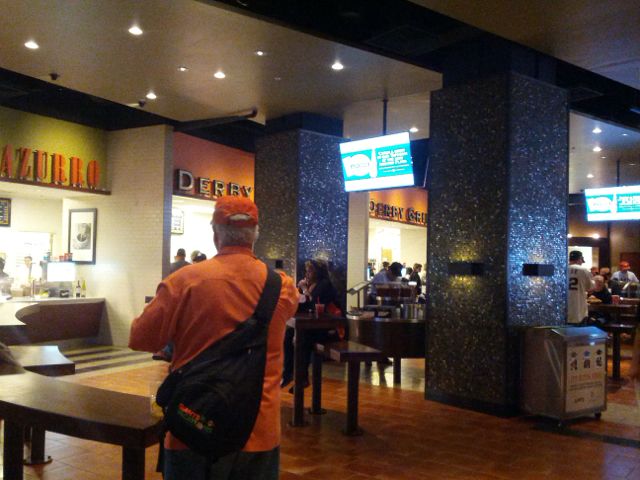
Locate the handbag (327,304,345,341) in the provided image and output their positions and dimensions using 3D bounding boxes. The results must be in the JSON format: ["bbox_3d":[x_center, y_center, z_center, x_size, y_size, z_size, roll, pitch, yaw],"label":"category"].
[{"bbox_3d":[0.213,0.971,6.275,0.102,0.393,0.237,-17,-27,18],"label":"handbag"}]

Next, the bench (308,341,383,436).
[{"bbox_3d":[0.161,1.380,4.828,0.483,0.840,1.744,0,-18,16],"label":"bench"}]

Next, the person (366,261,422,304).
[{"bbox_3d":[1.276,0.738,9.537,0.780,0.746,1.112,3,-13,-11],"label":"person"}]

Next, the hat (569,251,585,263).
[{"bbox_3d":[4.008,0.270,8.157,0.192,0.176,0.284,3,7,33],"label":"hat"}]

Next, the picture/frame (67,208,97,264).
[{"bbox_3d":[-4.662,-0.074,10.231,0.673,1.086,0.169,0,-1,25],"label":"picture/frame"}]
